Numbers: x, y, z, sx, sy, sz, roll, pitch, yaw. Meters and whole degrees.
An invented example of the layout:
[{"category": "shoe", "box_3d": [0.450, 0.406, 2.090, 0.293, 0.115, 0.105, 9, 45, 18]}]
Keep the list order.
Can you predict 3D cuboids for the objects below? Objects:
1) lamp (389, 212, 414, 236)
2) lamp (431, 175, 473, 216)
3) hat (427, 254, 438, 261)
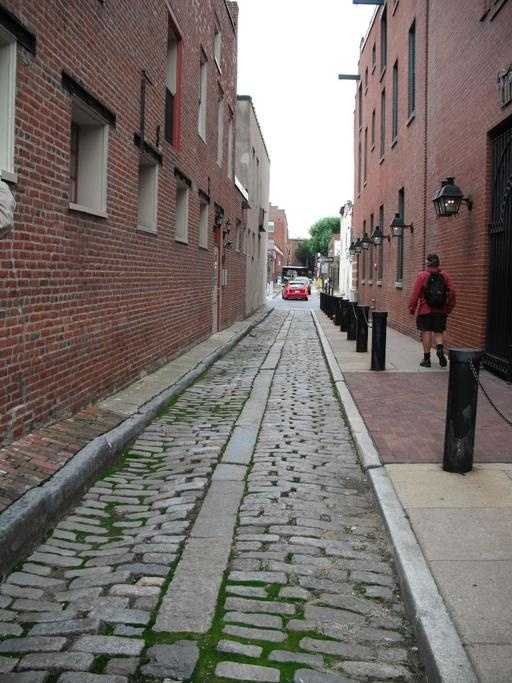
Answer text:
[{"category": "lamp", "box_3d": [4.190, -3.273, 15.202, 0.652, 0.741, 0.538, 4, 6, -10]}, {"category": "lamp", "box_3d": [3.564, -2.556, 9.575, 0.584, 1.000, 0.721, 1, 3, -2]}, {"category": "hat", "box_3d": [3.222, -1.509, 9.651, 0.154, 0.166, 0.331, -2, 1, 18]}]
